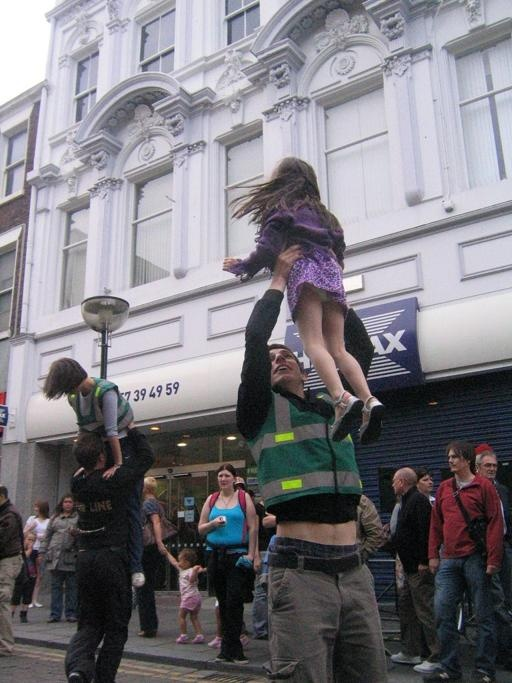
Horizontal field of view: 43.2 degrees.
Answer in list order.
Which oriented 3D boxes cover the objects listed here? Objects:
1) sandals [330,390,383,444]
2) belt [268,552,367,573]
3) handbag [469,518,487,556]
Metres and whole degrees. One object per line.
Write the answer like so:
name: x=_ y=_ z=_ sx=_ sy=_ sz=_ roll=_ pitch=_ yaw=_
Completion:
sandals: x=0.368 y=0.303 z=2.494 sx=0.184 sy=0.214 sz=0.110 roll=-5 pitch=26 yaw=-26
belt: x=0.209 y=0.777 z=2.275 sx=0.328 sy=0.088 sz=0.159 roll=-3 pitch=-11 yaw=0
handbag: x=1.842 y=1.598 z=5.364 sx=0.106 sy=0.246 sz=0.198 roll=-3 pitch=-18 yaw=-3
